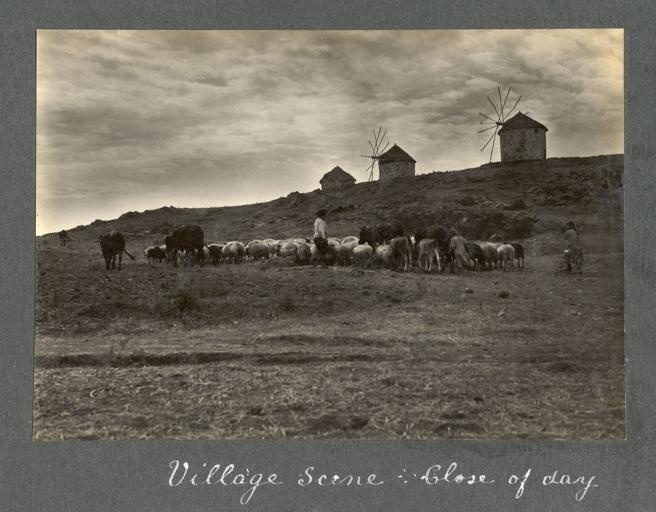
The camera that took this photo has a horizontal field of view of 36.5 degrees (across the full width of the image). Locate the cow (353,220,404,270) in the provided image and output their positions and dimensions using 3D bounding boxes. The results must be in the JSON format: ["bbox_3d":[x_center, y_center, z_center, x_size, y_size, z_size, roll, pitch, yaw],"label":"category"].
[{"bbox_3d":[1.487,-0.421,26.957,0.787,0.595,0.864,-2,22,43],"label":"cow"}]

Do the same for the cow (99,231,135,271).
[{"bbox_3d":[-5.297,-0.116,24.446,0.318,0.711,0.871,-1,2,42],"label":"cow"}]

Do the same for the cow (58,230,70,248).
[{"bbox_3d":[-6.136,-0.413,22.942,0.239,0.539,0.899,1,7,-12],"label":"cow"}]

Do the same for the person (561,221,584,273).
[{"bbox_3d":[5.687,-0.205,23.108,0.365,1.221,0.840,-2,1,3],"label":"person"}]
